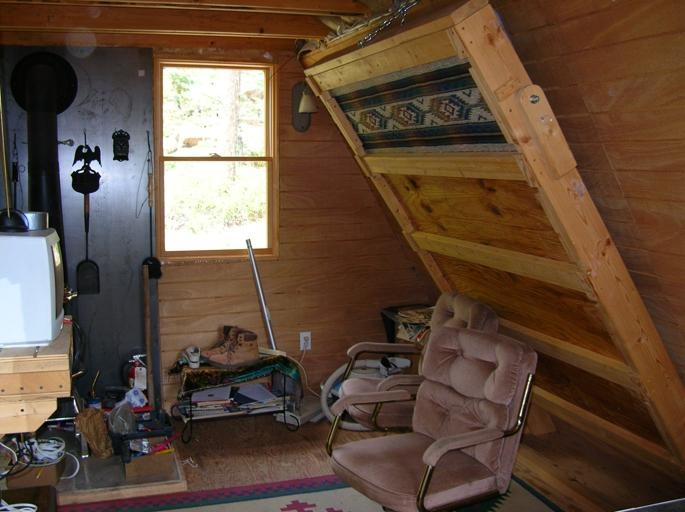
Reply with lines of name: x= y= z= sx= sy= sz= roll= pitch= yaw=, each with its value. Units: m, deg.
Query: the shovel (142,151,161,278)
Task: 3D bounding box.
shovel: x=-1.398 y=-0.271 z=3.683 sx=0.139 sy=0.801 sz=0.168 roll=3 pitch=11 yaw=-27

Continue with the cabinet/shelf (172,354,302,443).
cabinet/shelf: x=-0.772 y=0.969 z=3.632 sx=0.901 sy=0.493 sz=0.473 roll=-5 pitch=10 yaw=-17

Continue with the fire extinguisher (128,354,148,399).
fire extinguisher: x=-1.515 y=0.868 z=3.713 sx=0.142 sy=0.282 sz=0.167 roll=-8 pitch=11 yaw=-20
